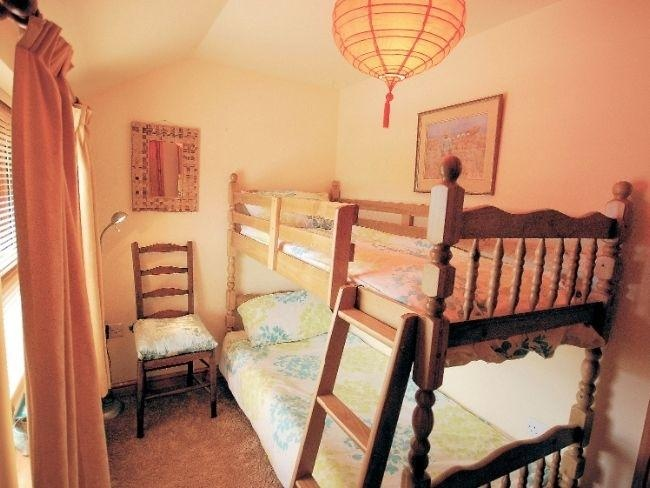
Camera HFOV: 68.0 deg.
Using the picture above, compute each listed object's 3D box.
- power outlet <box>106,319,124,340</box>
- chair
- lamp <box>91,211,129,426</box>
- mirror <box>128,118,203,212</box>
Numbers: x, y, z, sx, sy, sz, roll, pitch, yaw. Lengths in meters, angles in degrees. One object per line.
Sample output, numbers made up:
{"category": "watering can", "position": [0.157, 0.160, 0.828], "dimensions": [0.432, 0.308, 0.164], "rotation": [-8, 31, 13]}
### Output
{"category": "power outlet", "position": [-1.589, 0.657, 3.659], "dimensions": [0.184, 0.133, 0.100], "rotation": [-2, 6, -41]}
{"category": "chair", "position": [-1.117, 0.629, 3.571], "dimensions": [0.584, 1.243, 0.717], "rotation": [-2, 10, -24]}
{"category": "lamp", "position": [-1.486, 0.499, 3.419], "dimensions": [0.212, 1.470, 0.576], "rotation": [-2, 10, -23]}
{"category": "mirror", "position": [-1.237, -0.618, 3.668], "dimensions": [0.710, 0.948, 0.068], "rotation": [-2, 5, -32]}
